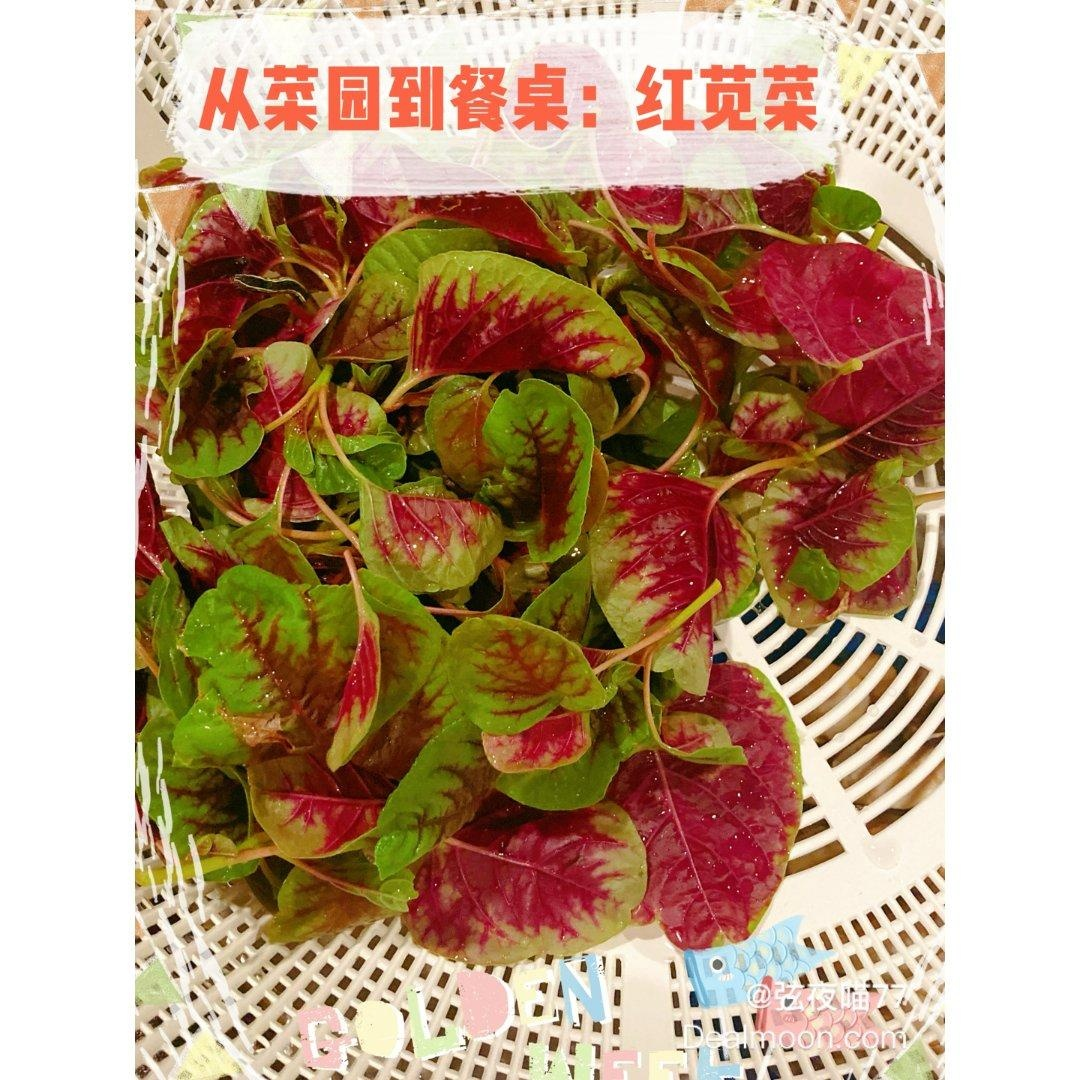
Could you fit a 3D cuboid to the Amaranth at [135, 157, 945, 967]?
[{"bbox_3d":[0.004,0.009,0.532,0.436,0.436,0.149,1,5,-13],"label":"Amaranth"}]
